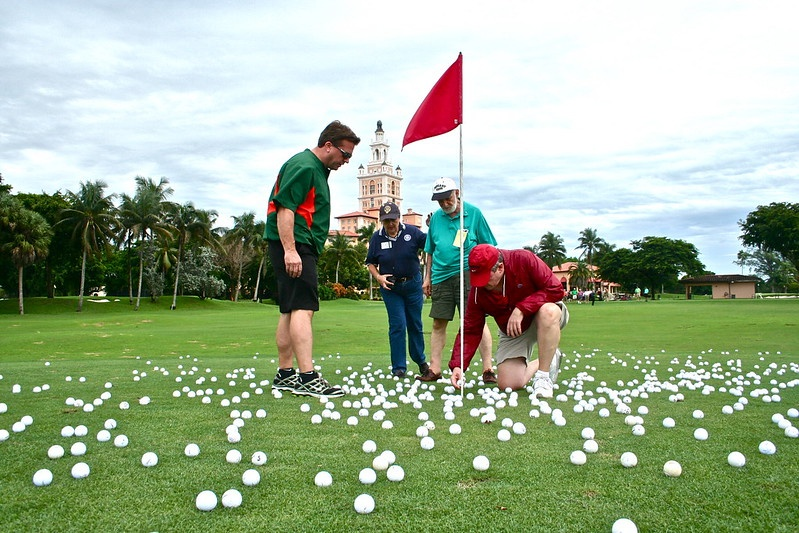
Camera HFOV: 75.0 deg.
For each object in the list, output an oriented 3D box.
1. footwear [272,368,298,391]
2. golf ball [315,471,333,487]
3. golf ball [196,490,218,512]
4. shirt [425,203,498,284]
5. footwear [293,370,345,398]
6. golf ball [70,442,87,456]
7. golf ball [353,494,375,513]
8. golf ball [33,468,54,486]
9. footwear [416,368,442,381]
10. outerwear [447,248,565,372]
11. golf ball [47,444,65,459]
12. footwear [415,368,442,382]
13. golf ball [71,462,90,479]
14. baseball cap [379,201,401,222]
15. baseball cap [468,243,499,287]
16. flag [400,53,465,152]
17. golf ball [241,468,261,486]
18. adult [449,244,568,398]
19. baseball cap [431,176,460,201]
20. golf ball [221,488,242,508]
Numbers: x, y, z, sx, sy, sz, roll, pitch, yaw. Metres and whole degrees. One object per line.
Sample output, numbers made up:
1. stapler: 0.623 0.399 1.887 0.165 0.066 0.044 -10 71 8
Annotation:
1. footwear: -1.321 1.323 6.113 0.169 0.188 0.389 2 2 23
2. golf ball: -0.517 1.438 3.521 0.091 0.089 0.086 -16 -1 0
3. golf ball: -1.211 1.467 3.236 0.108 0.083 0.107 -13 25 6
4. shirt: 0.821 -0.270 6.803 1.097 1.168 0.548 2 -2 34
5. footwear: -0.942 1.326 5.879 0.640 0.288 0.250 3 -5 -3
6. golf ball: -2.481 1.389 3.978 0.090 0.050 0.091 7 -8 1
7. golf ball: -0.219 1.454 3.204 0.102 0.056 0.102 6 -4 0
8. golf ball: -2.401 1.396 3.473 0.101 0.056 0.100 3 -5 0
9. footwear: 0.423 1.534 7.300 0.365 0.156 0.131 4 -9 -23
10. outerwear: 1.298 0.689 6.621 1.693 1.518 1.025 -6 -20 5
11. golf ball: -2.620 1.390 3.921 0.091 0.070 0.091 6 -9 1
12. footwear: 0.416 1.528 7.300 0.377 0.155 0.135 4 -10 -25
13. golf ball: -2.225 1.402 3.591 0.094 0.052 0.093 5 -8 1
14. baseball cap: -0.159 -0.830 7.855 0.304 0.305 0.390 0 -2 -4
15. baseball cap: 0.960 -0.015 6.002 0.310 0.478 0.280 7 -25 27
16. flag: 0.412 -2.096 6.629 0.829 1.028 0.202 -2 -2 35
17. golf ball: -1.006 1.420 3.495 0.097 0.075 0.094 -6 25 3
18. adult: 1.487 0.667 6.407 1.634 1.801 1.324 1 -8 -26
19. baseball cap: 0.606 -1.025 6.949 0.323 0.331 0.412 -1 -2 5
20. golf ball: -1.066 1.451 3.252 0.099 0.055 0.100 8 2 0
